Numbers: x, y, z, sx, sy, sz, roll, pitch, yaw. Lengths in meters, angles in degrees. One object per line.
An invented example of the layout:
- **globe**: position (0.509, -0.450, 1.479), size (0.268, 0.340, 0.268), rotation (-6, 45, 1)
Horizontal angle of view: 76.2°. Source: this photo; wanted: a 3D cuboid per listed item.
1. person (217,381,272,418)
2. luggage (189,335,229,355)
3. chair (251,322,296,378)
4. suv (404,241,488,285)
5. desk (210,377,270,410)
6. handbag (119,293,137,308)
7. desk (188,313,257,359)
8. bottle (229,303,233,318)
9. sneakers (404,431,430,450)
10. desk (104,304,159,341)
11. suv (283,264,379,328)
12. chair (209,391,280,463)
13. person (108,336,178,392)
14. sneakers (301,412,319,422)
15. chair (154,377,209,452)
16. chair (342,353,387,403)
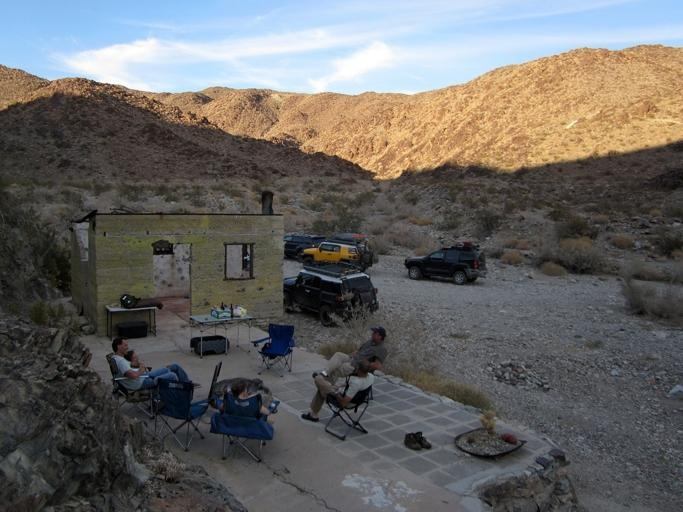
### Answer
- **person**: position (-1.536, 2.309, 7.418), size (0.914, 0.360, 1.023), rotation (2, -5, -2)
- **luggage**: position (-3.447, 2.339, 11.491), size (0.773, 0.271, 0.568), rotation (0, 3, -20)
- **chair**: position (-1.508, 2.177, 10.237), size (1.064, 0.948, 0.729), rotation (4, 4, 11)
- **suv**: position (5.780, 0.324, 23.219), size (4.222, 1.797, 1.976), rotation (5, 6, 28)
- **desk**: position (-1.767, 2.322, 7.464), size (0.949, 0.305, 0.911), rotation (2, -3, -1)
- **handbag**: position (-6.075, 1.264, 12.413), size (0.456, 0.427, 0.336), rotation (2, -5, -34)
- **desk**: position (-3.519, 2.027, 12.361), size (1.970, 1.049, 1.187), rotation (-1, 4, -34)
- **bottle**: position (-2.911, 1.486, 11.604), size (0.089, 0.202, 0.374), rotation (1, 9, -14)
- **sneakers**: position (1.328, 3.218, 7.650), size (0.226, 0.110, 0.330), rotation (-1, -4, -14)
- **desk**: position (-6.233, 1.771, 12.812), size (1.797, 1.023, 0.873), rotation (-3, 31, -30)
- **suv**: position (-0.458, 1.430, 16.571), size (2.029, 1.495, 3.656), rotation (-5, 14, -44)
- **chair**: position (-1.601, 2.703, 7.128), size (0.961, 1.137, 0.856), rotation (3, 10, -6)
- **person**: position (-3.804, 1.970, 8.206), size (1.602, 0.980, 0.713), rotation (3, 5, -16)
- **sneakers**: position (-0.586, 3.065, 8.376), size (0.338, 0.125, 0.138), rotation (13, 5, 13)
- **chair**: position (-2.653, 2.579, 7.316), size (0.867, 0.912, 0.766), rotation (5, -11, 9)
- **chair**: position (0.328, 2.289, 7.912), size (0.574, 0.792, 0.314), rotation (-6, 15, -43)
